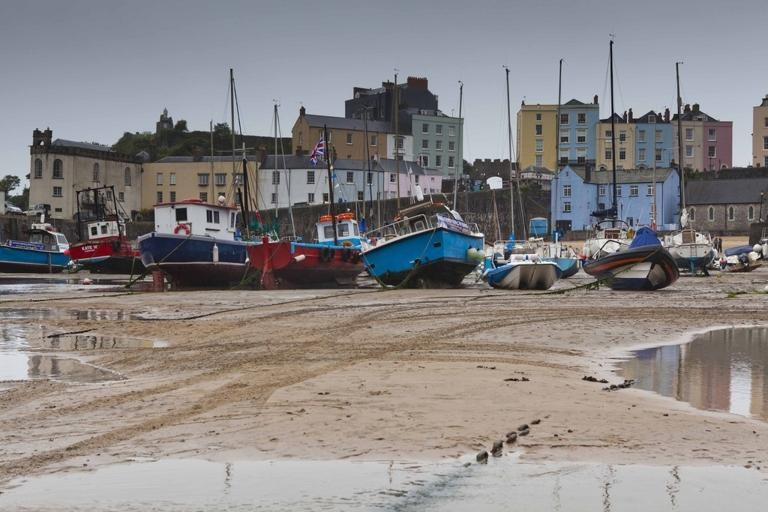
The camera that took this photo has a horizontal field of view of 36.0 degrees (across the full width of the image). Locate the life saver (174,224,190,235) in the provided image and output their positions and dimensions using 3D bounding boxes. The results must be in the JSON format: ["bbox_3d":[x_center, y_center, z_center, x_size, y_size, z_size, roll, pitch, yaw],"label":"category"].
[{"bbox_3d":[-8.173,-1.070,47.399,0.764,0.422,0.431,-1,1,2],"label":"life saver"}]
